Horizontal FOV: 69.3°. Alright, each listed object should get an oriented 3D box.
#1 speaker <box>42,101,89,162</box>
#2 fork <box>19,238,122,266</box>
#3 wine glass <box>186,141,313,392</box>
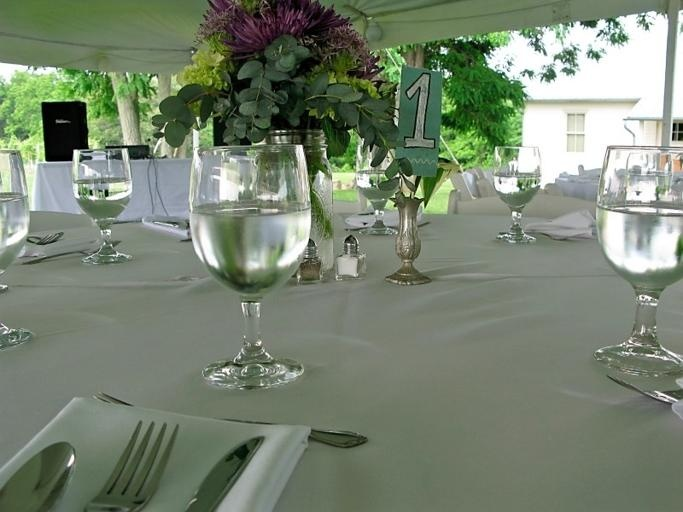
[{"bbox_3d":[-3.576,-1.637,6.439,0.537,0.750,0.370,-8,13,-30],"label":"speaker"},{"bbox_3d":[-0.694,-0.008,1.273,0.192,0.024,0.026,-18,33,-42],"label":"fork"},{"bbox_3d":[-0.118,0.004,0.646,0.154,0.291,0.156,6,14,34],"label":"wine glass"}]
